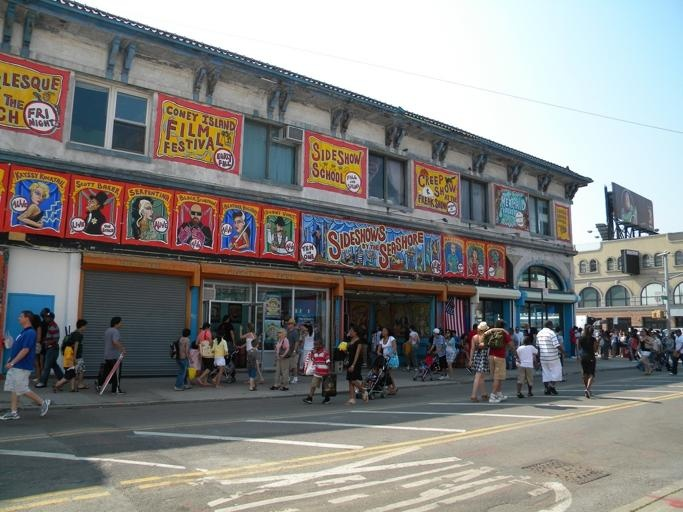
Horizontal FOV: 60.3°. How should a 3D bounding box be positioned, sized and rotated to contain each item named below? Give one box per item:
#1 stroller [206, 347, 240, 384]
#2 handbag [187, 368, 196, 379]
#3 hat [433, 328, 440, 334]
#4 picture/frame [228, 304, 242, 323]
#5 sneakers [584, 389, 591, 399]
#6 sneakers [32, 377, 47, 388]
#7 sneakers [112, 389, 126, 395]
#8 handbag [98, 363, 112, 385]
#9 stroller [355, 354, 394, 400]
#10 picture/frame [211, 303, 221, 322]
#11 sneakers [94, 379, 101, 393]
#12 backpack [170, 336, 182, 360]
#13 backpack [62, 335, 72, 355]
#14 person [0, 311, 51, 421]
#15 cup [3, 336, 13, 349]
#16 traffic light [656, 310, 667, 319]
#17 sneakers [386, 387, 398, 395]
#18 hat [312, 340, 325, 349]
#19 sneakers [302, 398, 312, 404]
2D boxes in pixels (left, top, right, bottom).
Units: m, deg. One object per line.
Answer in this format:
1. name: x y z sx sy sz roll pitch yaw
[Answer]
1. stroller: -3.889 3.736 20.618 0.701 1.046 0.670 -16 7 -5
2. handbag: -4.882 3.795 19.060 0.296 0.376 0.381 3 -14 -18
3. hat: 3.760 2.964 22.989 0.227 0.137 0.335 7 8 41
4. picture/frame: -4.096 2.185 22.372 0.675 0.933 0.086 3 -6 -42
5. sneakers: 7.224 4.053 17.242 0.123 0.333 0.107 -16 -1 -15
6. sneakers: -8.951 3.762 17.378 0.476 0.234 0.259 0 -3 29
7. sneakers: -6.494 3.949 17.045 0.305 0.205 0.118 0 0 -10
8. handbag: -6.905 3.382 16.979 0.491 0.708 0.352 0 -1 39
9. stroller: 0.953 3.643 17.989 0.945 1.350 0.742 7 -8 -44
10. picture/frame: -4.718 2.096 21.954 0.082 0.880 0.619 -5 -9 35
11. sneakers: -7.102 3.796 17.080 0.143 0.217 0.511 -3 -39 -12
12. backpack: -5.189 2.893 18.313 0.256 0.684 0.543 1 -1 -25
13. backpack: -8.017 2.565 17.215 0.257 0.565 0.834 1 -1 -33
14. person: -7.157 2.454 13.137 0.841 2.392 0.864 0 -1 14
15. cup: -9.931 2.535 17.334 0.243 0.373 0.352 6 -21 -31
16. traffic light: 24.221 4.438 44.509 1.153 0.825 0.585 11 -9 -39
17. sneakers: 1.609 4.295 18.703 0.154 0.182 0.446 0 -16 -9
18. hat: -0.673 2.579 17.164 0.252 0.293 0.212 11 -11 -27
19. sneakers: -0.991 4.133 16.794 0.251 0.183 0.115 11 -36 15
